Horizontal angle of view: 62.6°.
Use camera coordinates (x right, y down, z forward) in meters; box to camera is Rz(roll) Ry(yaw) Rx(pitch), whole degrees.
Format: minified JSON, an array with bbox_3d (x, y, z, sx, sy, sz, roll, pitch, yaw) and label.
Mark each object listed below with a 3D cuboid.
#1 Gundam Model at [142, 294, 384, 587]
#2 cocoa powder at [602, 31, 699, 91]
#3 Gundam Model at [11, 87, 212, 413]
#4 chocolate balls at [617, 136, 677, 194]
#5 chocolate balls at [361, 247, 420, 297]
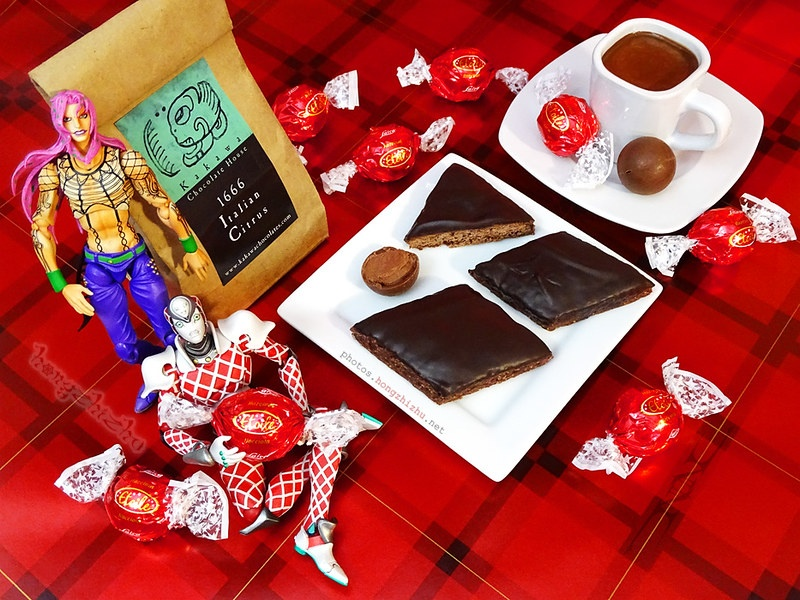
[{"bbox_3d":[-0.225,0.272,1.207,0.395,0.471,0.367,-20,52,-22],"label":"Gundam Model"},{"bbox_3d":[0.498,-0.467,1.302,0.094,0.051,0.131,29,44,23],"label":"cocoa powder"},{"bbox_3d":[-0.475,-0.067,1.154,0.237,0.590,0.179,-19,38,-19],"label":"Gundam Model"},{"bbox_3d":[0.483,-0.259,1.281,0.096,0.113,0.062,-3,12,15],"label":"chocolate balls"},{"bbox_3d":[-0.016,-0.057,1.328,0.101,0.085,0.113,20,44,21],"label":"chocolate balls"}]
